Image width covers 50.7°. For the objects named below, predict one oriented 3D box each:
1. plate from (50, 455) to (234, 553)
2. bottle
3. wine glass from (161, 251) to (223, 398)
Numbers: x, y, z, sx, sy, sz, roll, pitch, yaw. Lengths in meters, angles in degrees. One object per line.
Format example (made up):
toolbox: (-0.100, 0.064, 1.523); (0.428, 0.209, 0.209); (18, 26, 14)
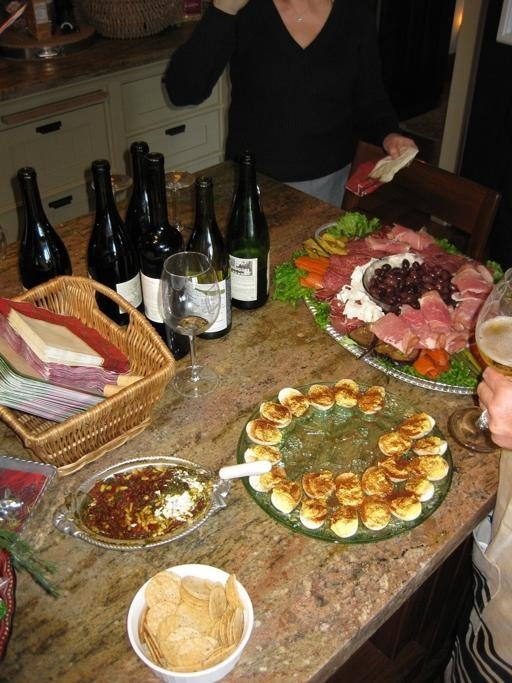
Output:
plate: (-0.160, 0.233, 0.763); (0.155, 0.037, 0.140); (-13, 32, -22)
bottle: (-0.171, -0.240, 1.196); (0.379, 0.404, 0.433); (-31, 45, -34)
wine glass: (-0.120, -0.021, 0.989); (0.102, 0.265, 0.095); (-28, 47, -32)
